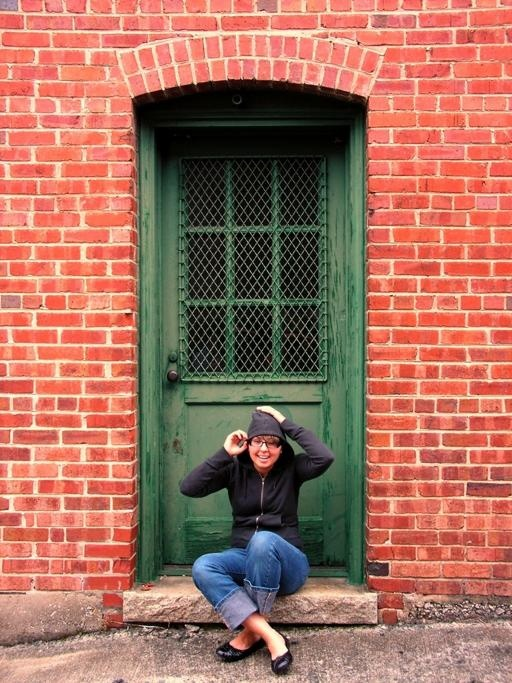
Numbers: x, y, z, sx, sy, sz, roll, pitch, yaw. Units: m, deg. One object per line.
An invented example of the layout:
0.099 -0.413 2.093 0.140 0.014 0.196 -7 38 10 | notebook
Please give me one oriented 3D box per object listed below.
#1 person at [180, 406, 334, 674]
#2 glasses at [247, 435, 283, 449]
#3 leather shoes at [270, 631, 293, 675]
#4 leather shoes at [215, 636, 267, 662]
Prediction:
0.010 0.992 4.676 0.675 1.289 0.482 -1 -2 -26 | person
0.043 0.516 4.689 0.164 0.066 0.078 -2 -2 -5 | glasses
0.127 1.531 4.495 0.048 0.187 0.078 12 -21 -42 | leather shoes
-0.082 1.540 4.589 0.205 0.057 0.093 2 -9 -27 | leather shoes
